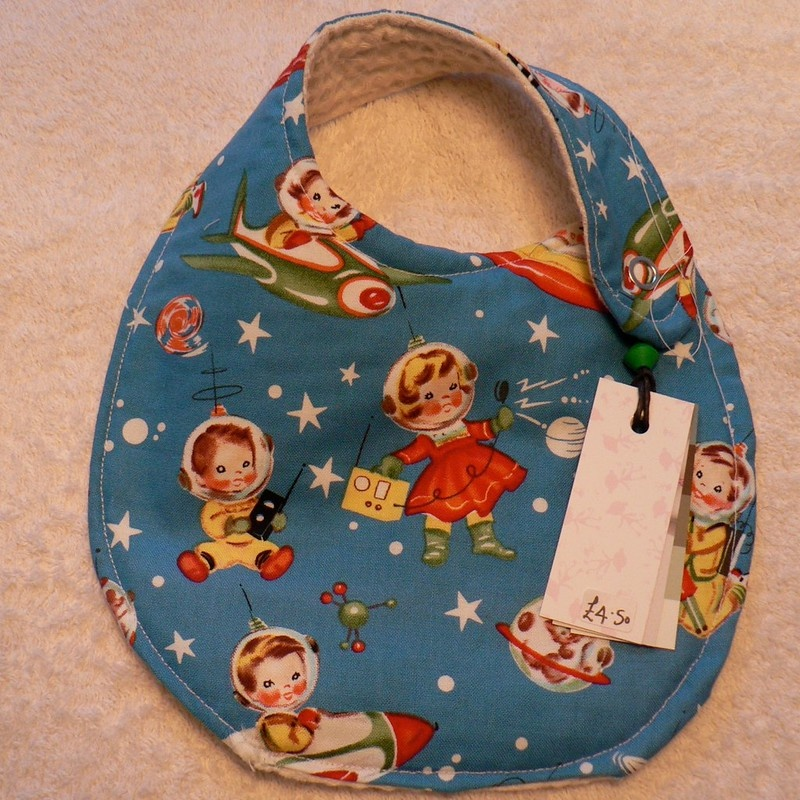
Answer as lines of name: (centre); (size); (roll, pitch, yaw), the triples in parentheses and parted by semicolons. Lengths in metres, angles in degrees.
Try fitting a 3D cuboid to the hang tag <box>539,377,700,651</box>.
hang tag: (0.209, 0.099, 1.083); (0.159, 0.034, 0.234); (14, 87, 2)
